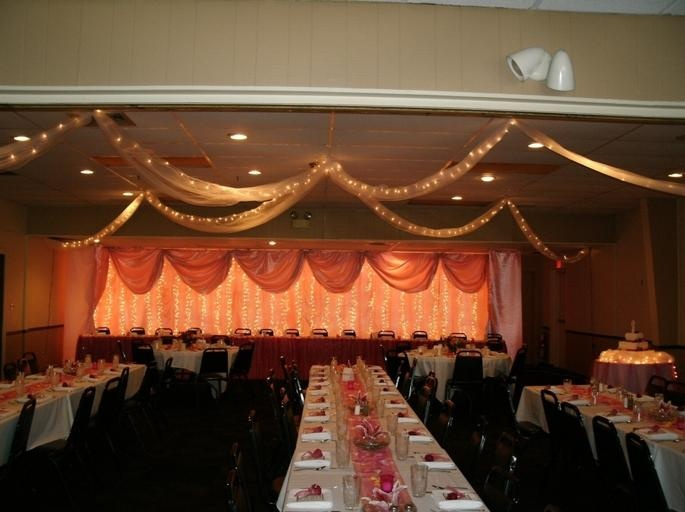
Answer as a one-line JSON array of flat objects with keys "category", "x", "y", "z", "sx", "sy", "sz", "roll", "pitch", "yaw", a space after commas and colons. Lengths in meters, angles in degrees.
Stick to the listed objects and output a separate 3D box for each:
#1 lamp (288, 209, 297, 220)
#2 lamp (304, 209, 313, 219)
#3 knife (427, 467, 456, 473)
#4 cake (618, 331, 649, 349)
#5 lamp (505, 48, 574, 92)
[{"category": "lamp", "x": -0.923, "y": -0.765, "z": 10.454, "sx": 0.191, "sy": 0.189, "sz": 0.115, "roll": 0, "pitch": 0, "yaw": 19}, {"category": "lamp", "x": -0.633, "y": -0.769, "z": 10.467, "sx": 0.157, "sy": 0.172, "sz": 0.038, "roll": -13, "pitch": 5, "yaw": -15}, {"category": "knife", "x": 0.777, "y": 1.647, "z": 4.374, "sx": 0.211, "sy": 0.032, "sz": 0.029, "roll": 0, "pitch": 0, "yaw": -3}, {"category": "cake", "x": 4.460, "y": 1.324, "z": 8.636, "sx": 0.388, "sy": 0.288, "sz": 0.405, "roll": -1, "pitch": -11, "yaw": 7}, {"category": "lamp", "x": 1.432, "y": -1.328, "z": 4.047, "sx": 0.435, "sy": 0.240, "sz": 0.272, "roll": 6, "pitch": 19, "yaw": -28}]
